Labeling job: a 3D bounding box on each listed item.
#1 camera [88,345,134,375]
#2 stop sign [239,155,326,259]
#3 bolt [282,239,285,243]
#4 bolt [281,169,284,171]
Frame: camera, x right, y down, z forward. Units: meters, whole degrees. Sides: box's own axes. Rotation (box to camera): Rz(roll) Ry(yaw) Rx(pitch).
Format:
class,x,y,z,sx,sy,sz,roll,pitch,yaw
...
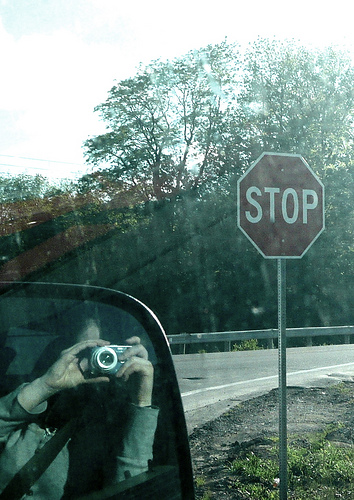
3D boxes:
class,x,y,z,sx,sy,sz,roll,pitch,yaw
camera,-0.204,0.312,1.533,0.128,0.077,0.044,-1,-3,-40
stop sign,0.698,-0.293,3.491,0.654,0.696,0.173,1,-1,-29
bolt,0.694,-0.063,3.464,0.022,0.020,0.005,-2,1,-11
bolt,0.705,-0.541,3.547,0.016,0.014,0.004,-2,5,-3
